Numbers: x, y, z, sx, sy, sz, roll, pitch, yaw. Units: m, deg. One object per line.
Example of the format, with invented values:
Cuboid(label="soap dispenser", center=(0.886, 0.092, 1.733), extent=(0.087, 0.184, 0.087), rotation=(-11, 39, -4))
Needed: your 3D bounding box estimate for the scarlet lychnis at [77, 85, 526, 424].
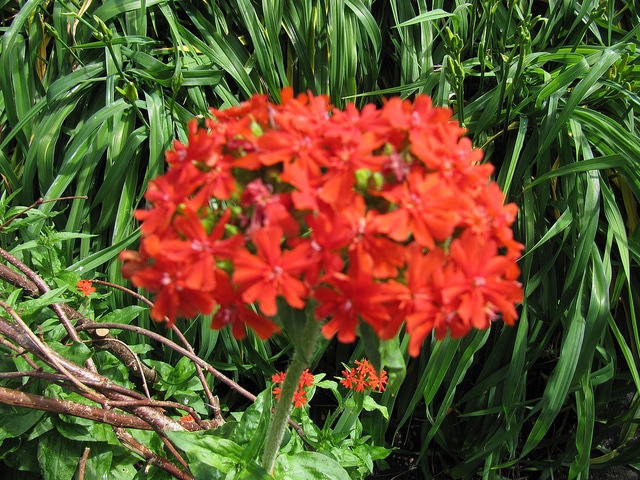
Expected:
Cuboid(label="scarlet lychnis", center=(-0.017, 0.155, 2.032), extent=(0.823, 1.008, 0.814), rotation=(5, 78, -1))
